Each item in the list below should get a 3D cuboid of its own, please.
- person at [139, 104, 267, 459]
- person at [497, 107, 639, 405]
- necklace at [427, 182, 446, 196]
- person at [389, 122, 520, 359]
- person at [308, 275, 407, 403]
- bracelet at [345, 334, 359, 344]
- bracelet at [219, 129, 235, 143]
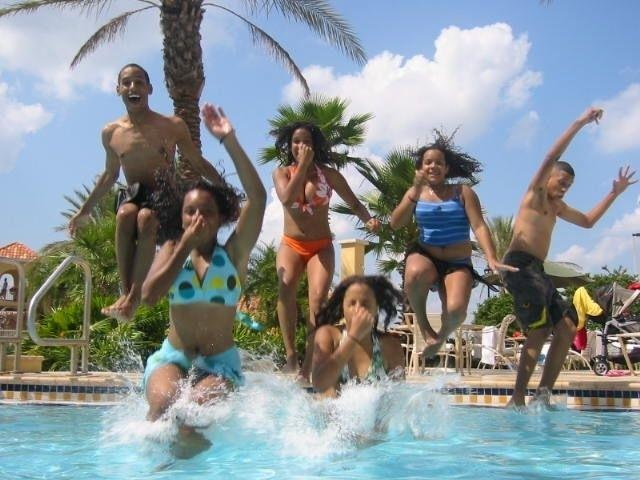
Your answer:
[{"bbox_3d":[-0.783,0.117,4.040,0.762,2.093,0.404,2,-4,-22],"label":"person"},{"bbox_3d":[2.247,0.207,5.827,0.911,2.803,1.032,-1,-4,20],"label":"person"},{"bbox_3d":[1.126,-0.507,5.863,0.102,0.056,0.142,29,-8,-19],"label":"necklace"},{"bbox_3d":[1.157,0.016,5.737,0.867,2.166,0.709,0,-4,6],"label":"person"},{"bbox_3d":[0.282,0.691,4.378,0.643,0.883,0.665,0,-4,8],"label":"person"},{"bbox_3d":[0.220,0.666,4.081,0.085,0.056,0.058,0,-4,-2],"label":"bracelet"},{"bbox_3d":[-0.630,-0.705,4.044,0.101,0.101,0.076,-11,11,-12],"label":"bracelet"}]
